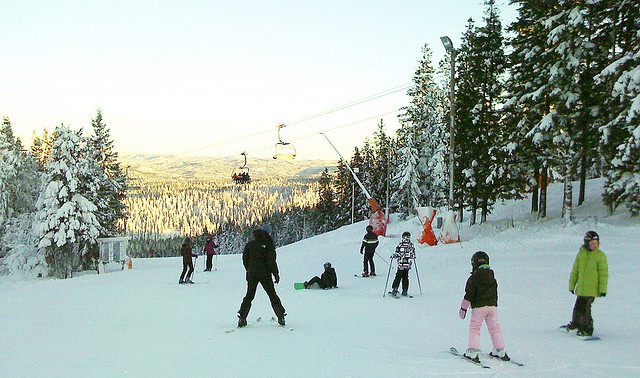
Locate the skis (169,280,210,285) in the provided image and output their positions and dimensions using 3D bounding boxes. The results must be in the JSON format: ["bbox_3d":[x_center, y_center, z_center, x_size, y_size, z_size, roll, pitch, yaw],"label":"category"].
[{"bbox_3d":[-8.676,6.269,38.105,1.730,0.174,0.231,2,6,22],"label":"skis"}]

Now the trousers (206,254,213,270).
[{"bbox_3d":[-8.775,5.734,45.161,0.411,1.228,0.594,-2,-3,-19],"label":"trousers"}]

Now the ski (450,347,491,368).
[{"bbox_3d":[7.197,8.140,27.412,2.726,0.273,0.232,18,-21,48],"label":"ski"}]

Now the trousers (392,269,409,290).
[{"bbox_3d":[4.712,5.297,33.518,0.974,1.272,0.709,-3,-3,6],"label":"trousers"}]

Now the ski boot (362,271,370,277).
[{"bbox_3d":[3.047,5.655,37.937,0.452,0.291,0.231,-3,-3,1],"label":"ski boot"}]

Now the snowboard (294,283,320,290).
[{"bbox_3d":[-0.997,6.123,35.935,2.009,0.497,0.567,2,10,-9],"label":"snowboard"}]

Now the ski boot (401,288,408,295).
[{"bbox_3d":[4.945,6.040,33.459,0.276,0.290,0.267,-1,-1,1],"label":"ski boot"}]

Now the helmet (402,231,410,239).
[{"bbox_3d":[5.021,2.713,33.564,0.357,0.324,0.451,3,-6,-28],"label":"helmet"}]

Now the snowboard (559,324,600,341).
[{"bbox_3d":[13.000,7.310,28.791,0.700,0.218,1.373,-3,5,-40],"label":"snowboard"}]

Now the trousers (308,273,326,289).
[{"bbox_3d":[-0.182,5.779,35.739,0.861,0.878,0.861,19,-3,11],"label":"trousers"}]

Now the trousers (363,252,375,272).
[{"bbox_3d":[3.245,4.842,37.996,0.669,1.334,0.586,-3,-3,4],"label":"trousers"}]

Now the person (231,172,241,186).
[{"bbox_3d":[-7.722,-0.928,52.955,0.910,0.793,0.210,1,-6,31],"label":"person"}]

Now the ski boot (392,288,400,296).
[{"bbox_3d":[4.363,5.991,33.404,0.322,0.291,0.111,4,-1,33],"label":"ski boot"}]

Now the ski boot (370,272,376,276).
[{"bbox_3d":[3.485,5.652,37.959,0.387,0.141,0.267,-2,-4,-7],"label":"ski boot"}]

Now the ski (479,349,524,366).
[{"bbox_3d":[8.674,8.120,27.414,2.712,0.287,0.188,12,17,26],"label":"ski"}]

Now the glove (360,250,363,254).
[{"bbox_3d":[2.709,4.146,37.512,0.200,0.328,0.250,-1,4,10],"label":"glove"}]

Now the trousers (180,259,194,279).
[{"bbox_3d":[-8.924,5.300,38.203,0.763,1.318,1.281,-3,-3,-14],"label":"trousers"}]
